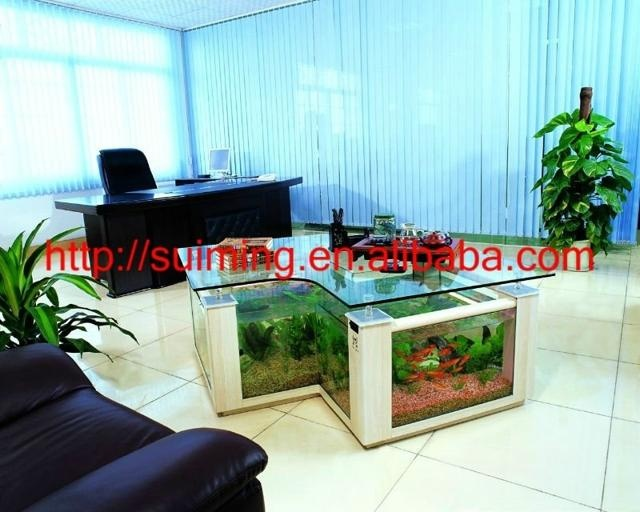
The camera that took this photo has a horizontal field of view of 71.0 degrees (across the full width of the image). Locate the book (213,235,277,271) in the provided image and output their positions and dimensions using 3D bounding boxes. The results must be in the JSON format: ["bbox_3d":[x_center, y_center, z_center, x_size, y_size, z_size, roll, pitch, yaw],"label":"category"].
[{"bbox_3d":[-0.408,-0.012,2.503,0.216,0.082,0.218,-5,17,-14],"label":"book"}]

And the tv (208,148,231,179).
[{"bbox_3d":[-1.562,-1.429,7.003,0.315,0.464,1.054,-6,15,-12],"label":"tv"}]

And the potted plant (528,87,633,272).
[{"bbox_3d":[2.639,-0.779,4.544,1.032,1.758,0.879,-16,19,-42],"label":"potted plant"}]

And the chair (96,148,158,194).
[{"bbox_3d":[-2.263,-1.023,5.371,0.502,0.752,0.667,-15,24,-40],"label":"chair"}]

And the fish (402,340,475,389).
[{"bbox_3d":[0.576,0.519,2.215,0.274,0.134,0.242,-13,-2,23],"label":"fish"}]

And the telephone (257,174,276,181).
[{"bbox_3d":[-0.715,-1.050,6.060,0.222,0.071,0.176,-1,14,-12],"label":"telephone"}]
